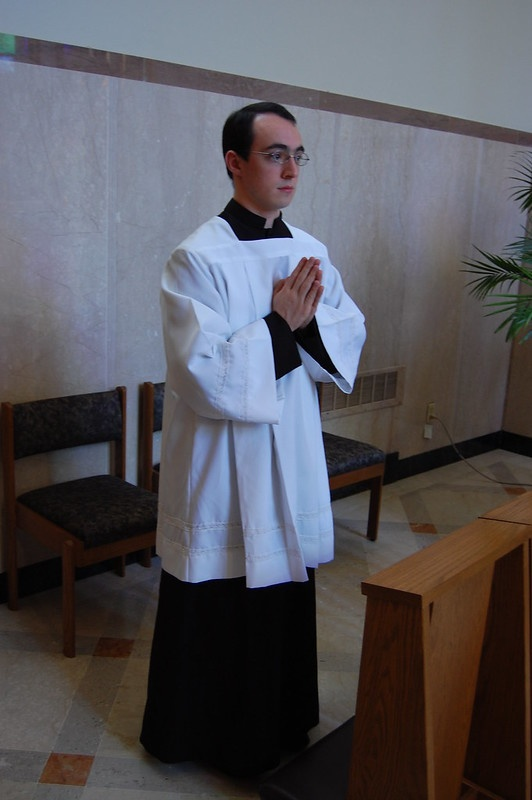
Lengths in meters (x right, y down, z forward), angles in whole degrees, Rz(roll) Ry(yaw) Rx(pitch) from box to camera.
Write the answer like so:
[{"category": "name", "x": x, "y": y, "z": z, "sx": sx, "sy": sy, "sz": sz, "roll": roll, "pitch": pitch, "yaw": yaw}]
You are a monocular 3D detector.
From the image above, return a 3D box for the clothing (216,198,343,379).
[{"category": "clothing", "x": 0.007, "y": -0.211, "z": 1.400, "sx": 0.235, "sy": 0.403, "sz": 0.099, "roll": -14, "pitch": 3, "yaw": -42}]
